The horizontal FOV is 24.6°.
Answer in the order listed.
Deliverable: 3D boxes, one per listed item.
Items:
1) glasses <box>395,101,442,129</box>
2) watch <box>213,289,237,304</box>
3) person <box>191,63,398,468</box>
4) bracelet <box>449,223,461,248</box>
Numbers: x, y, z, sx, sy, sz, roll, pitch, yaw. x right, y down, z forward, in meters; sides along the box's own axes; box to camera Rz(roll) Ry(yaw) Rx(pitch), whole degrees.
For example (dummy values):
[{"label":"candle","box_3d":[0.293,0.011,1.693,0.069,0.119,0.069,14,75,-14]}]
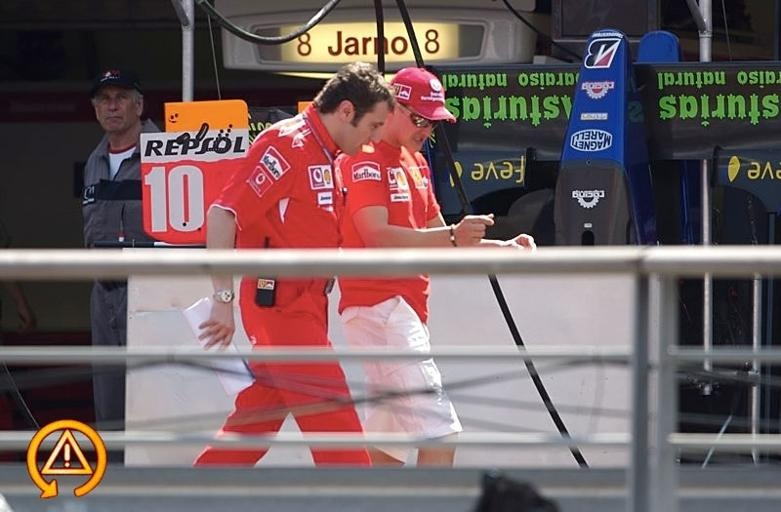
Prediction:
[{"label":"glasses","box_3d":[0.130,-0.693,8.973,0.157,0.043,0.134,31,14,31]},{"label":"watch","box_3d":[-0.766,0.184,8.299,0.092,0.052,0.092,-1,7,14]},{"label":"person","box_3d":[-0.441,-0.012,8.256,0.932,1.642,1.349,-1,12,0]},{"label":"bracelet","box_3d":[0.303,-0.114,8.814,0.062,0.074,0.090,-2,39,0]}]
